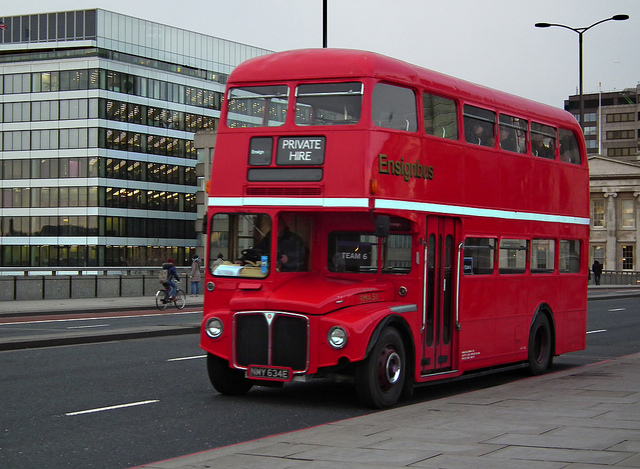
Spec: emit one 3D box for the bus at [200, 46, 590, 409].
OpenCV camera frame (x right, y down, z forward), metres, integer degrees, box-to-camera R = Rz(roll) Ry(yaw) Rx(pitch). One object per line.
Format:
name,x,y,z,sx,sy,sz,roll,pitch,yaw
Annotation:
bus,1.081,0.124,11.319,2.605,3.840,6.457,-1,-3,37

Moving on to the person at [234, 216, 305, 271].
person,-0.751,0.243,10.985,0.997,1.023,0.779,6,-9,16

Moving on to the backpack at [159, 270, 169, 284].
backpack,-6.467,1.809,29.103,0.361,0.544,0.507,1,-1,-1

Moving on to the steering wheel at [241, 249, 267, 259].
steering wheel,-1.023,0.301,10.736,0.433,0.161,0.029,-8,-4,31

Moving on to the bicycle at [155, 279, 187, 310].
bicycle,-6.377,2.804,29.793,0.799,1.163,1.937,0,-6,20
